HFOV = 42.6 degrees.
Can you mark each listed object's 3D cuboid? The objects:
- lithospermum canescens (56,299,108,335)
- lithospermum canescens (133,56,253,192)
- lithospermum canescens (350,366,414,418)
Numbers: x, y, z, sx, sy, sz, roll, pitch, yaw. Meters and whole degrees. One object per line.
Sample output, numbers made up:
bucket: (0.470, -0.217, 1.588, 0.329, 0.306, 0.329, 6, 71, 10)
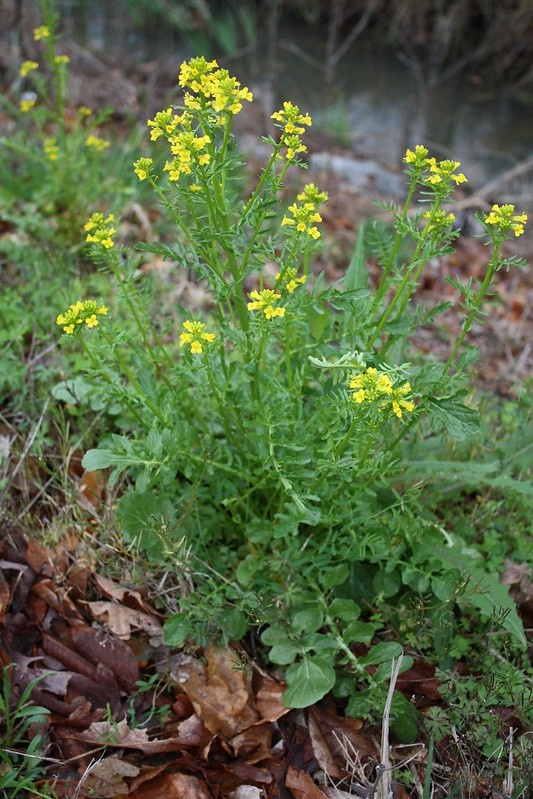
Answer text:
lithospermum canescens: (-0.489, -0.218, 1.825, 0.084, 0.101, 0.134, 15, 25, 7)
lithospermum canescens: (-0.191, -0.731, 1.824, 0.246, 0.327, 0.295, 5, 26, -14)
lithospermum canescens: (0.300, -0.012, 1.775, 0.164, 0.140, 0.066, -4, -8, -14)
